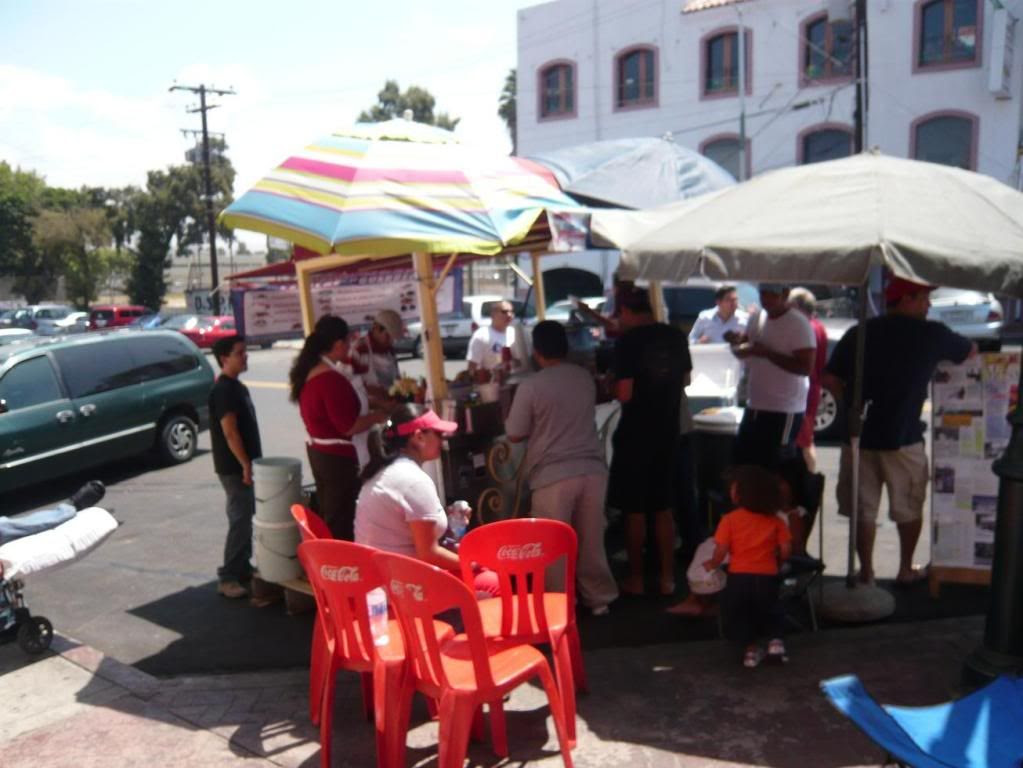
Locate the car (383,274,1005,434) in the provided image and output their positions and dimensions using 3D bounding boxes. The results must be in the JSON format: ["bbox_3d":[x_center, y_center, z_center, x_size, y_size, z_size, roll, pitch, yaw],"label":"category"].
[{"bbox_3d":[1.930,-0.277,9.330,4.510,1.946,2.236,-2,6,16],"label":"car"}]

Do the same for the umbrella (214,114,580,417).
[{"bbox_3d":[-0.800,-1.456,7.787,2.260,1.961,2.586,-14,20,-33],"label":"umbrella"}]

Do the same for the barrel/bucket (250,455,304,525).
[{"bbox_3d":[-1.854,0.855,8.131,0.422,0.505,0.470,-1,7,4],"label":"barrel/bucket"}]

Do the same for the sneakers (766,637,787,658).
[{"bbox_3d":[1.881,1.836,6.898,0.126,0.137,0.063,-1,7,-1],"label":"sneakers"}]

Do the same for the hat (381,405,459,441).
[{"bbox_3d":[-0.584,0.255,6.494,0.341,0.196,0.216,-3,4,-21],"label":"hat"}]

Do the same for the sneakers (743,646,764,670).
[{"bbox_3d":[1.712,1.902,6.850,0.090,0.073,0.168,9,20,20],"label":"sneakers"}]
